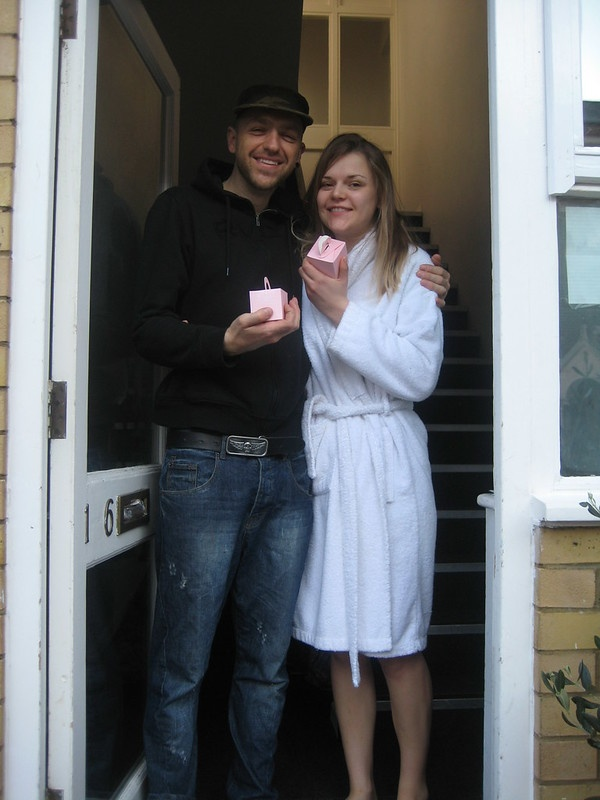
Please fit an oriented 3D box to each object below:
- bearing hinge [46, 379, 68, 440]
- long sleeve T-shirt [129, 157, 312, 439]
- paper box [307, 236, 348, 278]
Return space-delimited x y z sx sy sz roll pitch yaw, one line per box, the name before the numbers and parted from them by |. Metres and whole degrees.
bearing hinge | -0.433 0.020 1.445 0.043 0.104 0.011 4 4 24
long sleeve T-shirt | -0.111 -0.235 1.807 0.462 0.649 0.354 3 -11 -24
paper box | 0.060 -0.312 1.780 0.071 0.058 0.099 31 -21 26
